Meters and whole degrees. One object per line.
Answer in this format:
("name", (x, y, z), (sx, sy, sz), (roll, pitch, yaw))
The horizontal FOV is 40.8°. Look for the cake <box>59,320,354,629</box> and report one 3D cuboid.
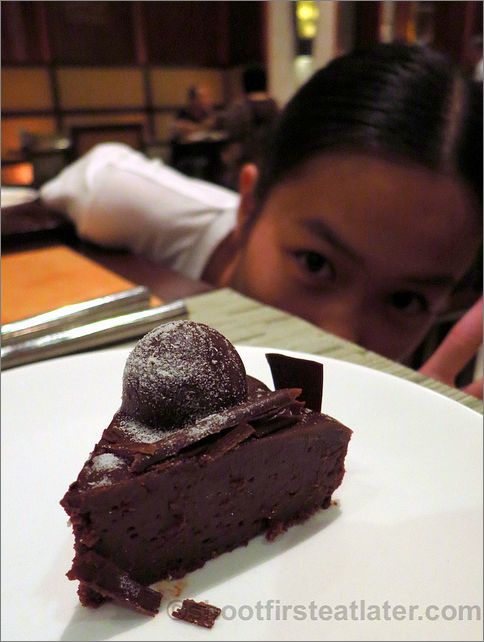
("cake", (-0.126, 0.232, 1.293), (0.469, 0.375, 0.566), (17, 30, 35))
